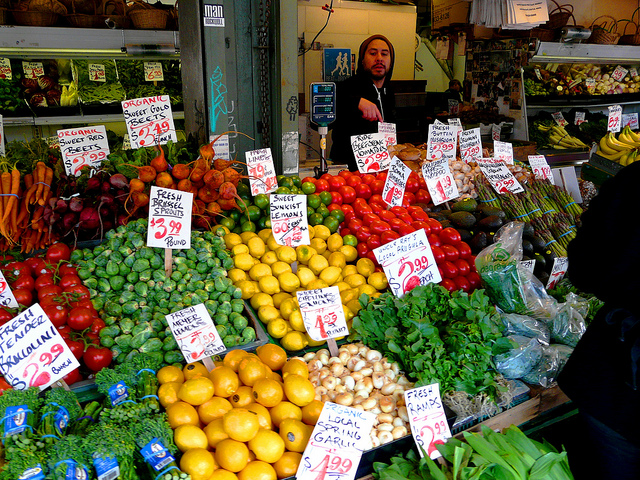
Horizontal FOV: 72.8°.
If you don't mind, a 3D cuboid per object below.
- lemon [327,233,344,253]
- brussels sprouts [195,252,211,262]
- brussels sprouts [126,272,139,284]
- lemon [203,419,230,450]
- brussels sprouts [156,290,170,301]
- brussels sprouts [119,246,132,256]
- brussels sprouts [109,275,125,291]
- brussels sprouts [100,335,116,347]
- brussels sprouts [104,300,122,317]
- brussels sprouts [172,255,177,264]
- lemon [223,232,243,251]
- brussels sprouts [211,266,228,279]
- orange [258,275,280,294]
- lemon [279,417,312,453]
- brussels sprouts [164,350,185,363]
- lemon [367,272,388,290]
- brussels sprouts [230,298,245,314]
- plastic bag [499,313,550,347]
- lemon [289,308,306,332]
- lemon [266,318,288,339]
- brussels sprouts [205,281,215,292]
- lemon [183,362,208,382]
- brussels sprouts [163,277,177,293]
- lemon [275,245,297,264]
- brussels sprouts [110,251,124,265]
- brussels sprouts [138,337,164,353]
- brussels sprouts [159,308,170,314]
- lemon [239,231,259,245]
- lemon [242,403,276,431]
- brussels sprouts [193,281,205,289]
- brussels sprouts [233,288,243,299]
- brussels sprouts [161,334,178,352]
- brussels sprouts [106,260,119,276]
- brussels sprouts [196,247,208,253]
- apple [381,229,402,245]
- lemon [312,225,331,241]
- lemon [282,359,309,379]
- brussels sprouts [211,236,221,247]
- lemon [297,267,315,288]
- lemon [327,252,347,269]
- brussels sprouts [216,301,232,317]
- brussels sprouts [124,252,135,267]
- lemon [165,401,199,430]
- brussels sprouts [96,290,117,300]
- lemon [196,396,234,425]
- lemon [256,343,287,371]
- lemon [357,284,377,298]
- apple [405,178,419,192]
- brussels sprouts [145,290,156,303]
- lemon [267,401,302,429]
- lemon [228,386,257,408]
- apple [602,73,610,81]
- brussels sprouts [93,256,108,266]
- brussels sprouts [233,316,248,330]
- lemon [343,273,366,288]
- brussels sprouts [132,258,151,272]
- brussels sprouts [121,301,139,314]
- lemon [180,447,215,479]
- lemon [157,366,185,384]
[{"bbox_3d":[0.110,0.017,3.137,0.094,0.097,0.127,4,70,2],"label":"lemon"},{"bbox_3d":[-0.744,0.108,2.767,0.084,0.041,0.051,-10,35,-11],"label":"brussels sprouts"},{"bbox_3d":[-1.125,0.227,2.616,0.063,0.049,0.042,-4,34,-2],"label":"brussels sprouts"},{"bbox_3d":[-0.458,0.859,1.967,0.120,0.145,0.121,0,-3,-10],"label":"lemon"},{"bbox_3d":[-0.935,0.331,2.589,0.077,0.023,0.055,4,35,9],"label":"brussels sprouts"},{"bbox_3d":[-1.191,0.071,2.644,0.048,0.040,0.062,7,-2,-29],"label":"brussels sprouts"},{"bbox_3d":[-1.208,0.250,2.595,0.077,0.043,0.079,41,63,3],"label":"brussels sprouts"},{"bbox_3d":[-1.154,0.550,2.351,0.060,0.060,0.071,8,-2,0],"label":"brussels sprouts"},{"bbox_3d":[-1.189,0.398,2.494,0.068,0.050,0.092,-30,66,-30],"label":"brussels sprouts"},{"bbox_3d":[-0.914,0.118,2.729,0.035,0.035,0.016,10,-1,23],"label":"brussels sprouts"},{"bbox_3d":[-0.593,0.007,3.004,0.115,0.142,0.115,1,-2,-9],"label":"lemon"},{"bbox_3d":[-0.641,0.208,2.752,0.093,0.053,0.087,-15,36,-18],"label":"brussels sprouts"},{"bbox_3d":[-0.328,0.293,2.831,0.127,0.095,0.091,31,19,-11],"label":"orange"},{"bbox_3d":[-0.113,0.896,2.044,0.149,0.112,0.113,49,6,14],"label":"lemon"},{"bbox_3d":[-0.794,0.639,2.367,0.081,0.050,0.058,-1,-7,-8],"label":"brussels sprouts"},{"bbox_3d":[0.396,0.273,2.926,0.094,0.100,0.124,25,-17,-36],"label":"lemon"},{"bbox_3d":[-0.501,0.406,2.688,0.075,0.056,0.076,14,0,9],"label":"brussels sprouts"},{"bbox_3d":[1.219,0.504,2.597,0.319,0.124,0.216,6,33,33],"label":"plastic bag"},{"bbox_3d":[-0.137,0.487,2.626,0.122,0.154,0.124,-5,5,-13],"label":"lemon"},{"bbox_3d":[-0.250,0.539,2.639,0.130,0.121,0.109,6,35,13],"label":"lemon"},{"bbox_3d":[-0.676,0.286,2.668,0.055,0.034,0.049,-39,82,-22],"label":"brussels sprouts"},{"bbox_3d":[-0.637,0.671,2.228,0.093,0.111,0.094,2,3,-9],"label":"lemon"},{"bbox_3d":[-0.909,0.272,2.620,0.061,0.042,0.080,6,50,-15],"label":"brussels sprouts"},{"bbox_3d":[-0.228,0.092,2.988,0.130,0.097,0.100,34,1,22],"label":"lemon"},{"bbox_3d":[-1.228,0.106,2.626,0.056,0.024,0.074,-28,78,-25],"label":"brussels sprouts"},{"bbox_3d":[-0.916,0.577,2.364,0.092,0.062,0.041,-15,-7,-22],"label":"brussels sprouts"},{"bbox_3d":[-0.911,0.415,2.534,0.055,0.024,0.045,-3,34,-1],"label":"brussels sprouts"},{"bbox_3d":[-0.501,-0.027,3.096,0.095,0.116,0.093,17,3,-5],"label":"lemon"},{"bbox_3d":[-0.277,0.818,2.045,0.106,0.143,0.107,-41,16,-5],"label":"lemon"},{"bbox_3d":[-0.741,0.277,2.659,0.052,0.039,0.042,12,64,-17],"label":"brussels sprouts"},{"bbox_3d":[-0.509,0.333,2.698,0.046,0.059,0.036,0,-2,-16],"label":"brussels sprouts"},{"bbox_3d":[-0.830,0.574,2.413,0.073,0.053,0.099,4,59,2],"label":"brussels sprouts"},{"bbox_3d":[-1.237,0.170,2.595,0.062,0.079,0.045,-8,0,-7],"label":"brussels sprouts"},{"bbox_3d":[-0.756,0.062,2.788,0.041,0.014,0.040,-7,15,-41],"label":"brussels sprouts"},{"bbox_3d":[0.521,-0.027,3.167,0.096,0.101,0.129,0,2,6],"label":"apple"},{"bbox_3d":[0.015,-0.058,3.204,0.107,0.131,0.104,-3,10,-12],"label":"lemon"},{"bbox_3d":[-0.125,0.670,2.271,0.096,0.118,0.102,3,5,24],"label":"lemon"},{"bbox_3d":[-0.694,0.007,2.897,0.048,0.051,0.064,0,4,-13],"label":"brussels sprouts"},{"bbox_3d":[-0.094,0.241,2.894,0.117,0.144,0.118,-6,7,-12],"label":"lemon"},{"bbox_3d":[0.122,0.139,3.049,0.087,0.088,0.118,-3,60,-7],"label":"lemon"},{"bbox_3d":[-0.577,0.411,2.610,0.068,0.089,0.051,33,-4,-11],"label":"brussels sprouts"},{"bbox_3d":[-1.152,0.117,2.626,0.043,0.028,0.074,19,69,-11],"label":"brussels sprouts"},{"bbox_3d":[-0.627,0.784,2.014,0.104,0.127,0.112,18,13,33],"label":"lemon"},{"bbox_3d":[-1.266,0.322,2.574,0.072,0.025,0.040,-4,19,-7],"label":"brussels sprouts"},{"bbox_3d":[-0.503,0.800,2.103,0.127,0.126,0.157,32,68,-1],"label":"lemon"},{"bbox_3d":[-0.265,0.640,2.428,0.154,0.116,0.112,27,77,15],"label":"lemon"},{"bbox_3d":[0.318,0.331,2.875,0.130,0.053,0.118,-2,34,2],"label":"lemon"},{"bbox_3d":[0.834,-0.497,3.938,0.112,0.120,0.116,24,15,40],"label":"apple"},{"bbox_3d":[-1.014,0.336,2.598,0.050,0.065,0.030,9,-7,6],"label":"brussels sprouts"},{"bbox_3d":[-0.166,0.817,2.063,0.132,0.161,0.125,4,-16,-10],"label":"lemon"},{"bbox_3d":[-0.373,0.765,2.098,0.089,0.106,0.091,5,-1,12],"label":"lemon"},{"bbox_3d":[5.281,-3.035,8.004,0.142,0.078,0.146,7,55,6],"label":"apple"},{"bbox_3d":[-1.322,0.125,2.623,0.081,0.037,0.048,-3,34,0],"label":"brussels sprouts"},{"bbox_3d":[-0.467,0.493,2.560,0.073,0.072,0.043,13,-19,-14],"label":"brussels sprouts"},{"bbox_3d":[0.238,0.276,2.940,0.084,0.065,0.115,-4,-2,19],"label":"lemon"},{"bbox_3d":[-1.079,0.152,2.614,0.083,0.071,0.050,1,2,-6],"label":"brussels sprouts"},{"bbox_3d":[-1.108,0.392,2.527,0.080,0.048,0.059,-4,53,-29],"label":"brussels sprouts"},{"bbox_3d":[-0.517,0.944,1.885,0.109,0.123,0.120,-7,0,21],"label":"lemon"},{"bbox_3d":[-0.752,0.681,2.209,0.087,0.047,0.087,43,12,35],"label":"lemon"}]
